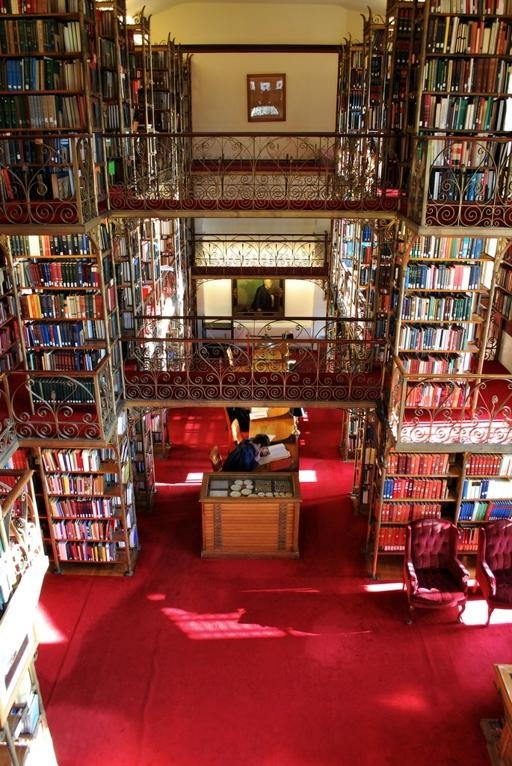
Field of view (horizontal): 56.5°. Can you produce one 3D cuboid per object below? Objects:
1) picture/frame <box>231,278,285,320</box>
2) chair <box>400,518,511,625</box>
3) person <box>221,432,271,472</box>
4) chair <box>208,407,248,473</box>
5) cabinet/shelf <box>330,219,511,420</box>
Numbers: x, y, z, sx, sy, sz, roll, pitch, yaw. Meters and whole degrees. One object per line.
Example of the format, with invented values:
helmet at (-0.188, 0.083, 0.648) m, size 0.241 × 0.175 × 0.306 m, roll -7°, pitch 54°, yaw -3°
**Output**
picture/frame at (0.055, -2.365, 13.232) m, size 1.469 × 0.951 × 0.382 m, roll 1°, pitch 14°, yaw 2°
chair at (2.168, 1.875, 5.190) m, size 0.990 × 1.269 × 1.108 m, roll 1°, pitch 13°, yaw 9°
person at (-0.109, 0.895, 6.412) m, size 0.388 × 0.432 × 0.744 m, roll 14°, pitch 20°, yaw 43°
chair at (-0.437, 0.901, 7.675) m, size 0.639 × 0.908 × 0.551 m, roll 11°, pitch 49°, yaw 5°
cabinet/shelf at (1.889, -0.652, 5.259) m, size 0.817 × 1.111 × 2.893 m, roll 1°, pitch 20°, yaw 5°
